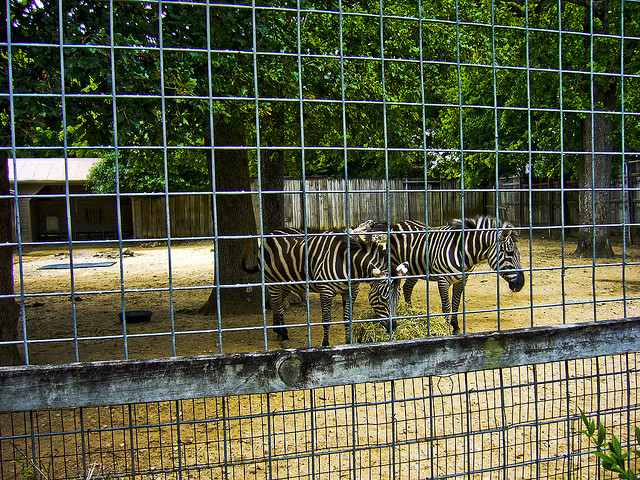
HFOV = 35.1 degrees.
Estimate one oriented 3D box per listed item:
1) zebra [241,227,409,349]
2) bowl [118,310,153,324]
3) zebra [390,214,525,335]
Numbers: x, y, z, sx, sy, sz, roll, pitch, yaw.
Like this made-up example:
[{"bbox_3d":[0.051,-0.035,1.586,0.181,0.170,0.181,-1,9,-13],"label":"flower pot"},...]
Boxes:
[{"bbox_3d":[0.002,0.685,14.341,2.662,1.615,0.685,2,0,36],"label":"zebra"},{"bbox_3d":[-2.845,1.204,15.915,0.398,0.146,0.357,-4,11,-10],"label":"bowl"},{"bbox_3d":[1.947,0.484,14.588,1.414,1.717,2.059,-10,13,-40],"label":"zebra"}]
